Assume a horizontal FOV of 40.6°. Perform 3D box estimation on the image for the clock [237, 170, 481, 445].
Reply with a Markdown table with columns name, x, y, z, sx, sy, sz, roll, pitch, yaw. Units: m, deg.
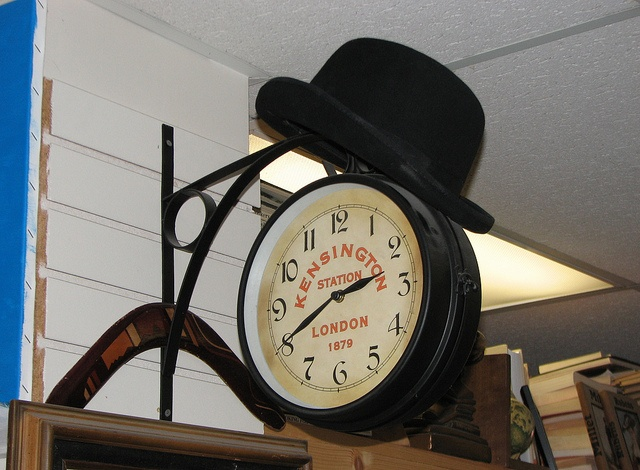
| name | x | y | z | sx | sy | sz | roll | pitch | yaw |
| --- | --- | --- | --- | --- | --- | --- | --- | --- | --- |
| clock | 0.042 | 0.128 | 1.608 | 0.416 | 0.169 | 0.458 | -10 | 73 | 32 |
